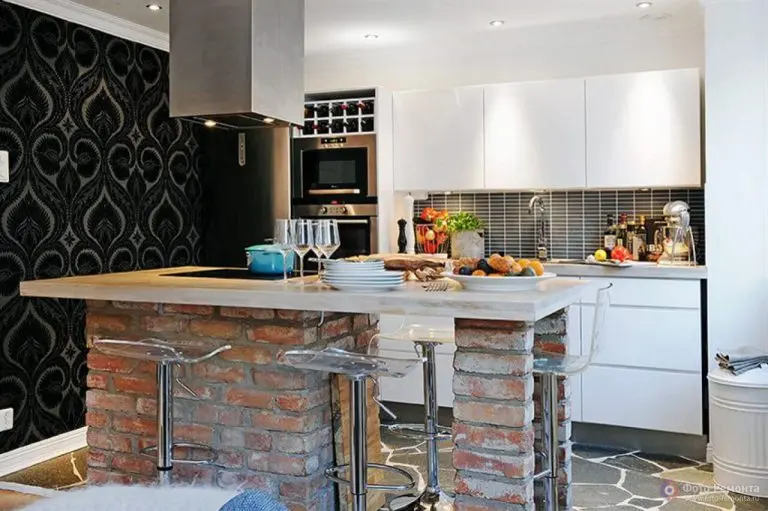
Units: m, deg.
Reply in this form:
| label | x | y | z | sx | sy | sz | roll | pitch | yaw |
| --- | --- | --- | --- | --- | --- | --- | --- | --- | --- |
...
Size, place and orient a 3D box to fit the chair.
| label | x | y | z | sx | sy | sz | roll | pitch | yaw |
| --- | --- | --- | --- | --- | --- | --- | --- | --- | --- |
| chair | 0.917 | 0.738 | 2.936 | 0.345 | 1.172 | 0.522 | 1 | 4 | 19 |

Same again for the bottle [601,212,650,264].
| label | x | y | z | sx | sy | sz | roll | pitch | yaw |
| --- | --- | --- | --- | --- | --- | --- | --- | --- | --- |
| bottle | 1.939 | -0.141 | 4.744 | 0.410 | 0.557 | 0.164 | 0 | -8 | 16 |

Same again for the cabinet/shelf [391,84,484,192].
| label | x | y | z | sx | sy | sz | roll | pitch | yaw |
| --- | --- | --- | --- | --- | --- | --- | --- | --- | --- |
| cabinet/shelf | 0.462 | -0.996 | 4.963 | 0.953 | 0.874 | 0.495 | 1 | 1 | 21 |

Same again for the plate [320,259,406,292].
| label | x | y | z | sx | sy | sz | roll | pitch | yaw |
| --- | --- | --- | --- | --- | --- | --- | --- | --- | --- |
| plate | -0.104 | 0.084 | 2.774 | 0.381 | 0.136 | 0.171 | 0 | 4 | 6 |

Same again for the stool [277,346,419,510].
| label | x | y | z | sx | sy | sz | roll | pitch | yaw |
| --- | --- | --- | --- | --- | --- | --- | --- | --- | --- |
| stool | -0.132 | 0.874 | 2.862 | 0.616 | 0.949 | 0.461 | 0 | 4 | 3 |

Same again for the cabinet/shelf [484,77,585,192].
| label | x | y | z | sx | sy | sz | roll | pitch | yaw |
| --- | --- | --- | --- | --- | --- | --- | --- | --- | --- |
| cabinet/shelf | 1.203 | -0.977 | 4.703 | 0.962 | 0.917 | 0.495 | 0 | 0 | 21 |

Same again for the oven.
| label | x | y | z | sx | sy | sz | roll | pitch | yaw |
| --- | --- | --- | --- | --- | --- | --- | --- | --- | --- |
| oven | -0.431 | -0.550 | 5.327 | 0.781 | 1.174 | 0.611 | 4 | 27 | 7 |

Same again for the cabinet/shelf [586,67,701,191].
| label | x | y | z | sx | sy | sz | roll | pitch | yaw |
| --- | --- | --- | --- | --- | --- | --- | --- | --- | --- |
| cabinet/shelf | 1.952 | -0.965 | 4.452 | 0.967 | 0.899 | 0.524 | 0 | -1 | 21 |

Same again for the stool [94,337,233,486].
| label | x | y | z | sx | sy | sz | roll | pitch | yaw |
| --- | --- | --- | --- | --- | --- | --- | --- | --- | --- |
| stool | -1.054 | 0.792 | 2.984 | 0.654 | 0.791 | 0.356 | 1 | 4 | 24 |

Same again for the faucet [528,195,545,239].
| label | x | y | z | sx | sy | sz | roll | pitch | yaw |
| --- | --- | --- | --- | --- | --- | --- | --- | --- | --- |
| faucet | 1.288 | -0.320 | 5.005 | 0.158 | 0.422 | 0.255 | 1 | 4 | 14 |

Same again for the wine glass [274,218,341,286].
| label | x | y | z | sx | sy | sz | roll | pitch | yaw |
| --- | --- | --- | --- | --- | --- | --- | --- | --- | --- |
| wine glass | -0.398 | -0.030 | 2.972 | 0.290 | 0.314 | 0.280 | -2 | 4 | -17 |
